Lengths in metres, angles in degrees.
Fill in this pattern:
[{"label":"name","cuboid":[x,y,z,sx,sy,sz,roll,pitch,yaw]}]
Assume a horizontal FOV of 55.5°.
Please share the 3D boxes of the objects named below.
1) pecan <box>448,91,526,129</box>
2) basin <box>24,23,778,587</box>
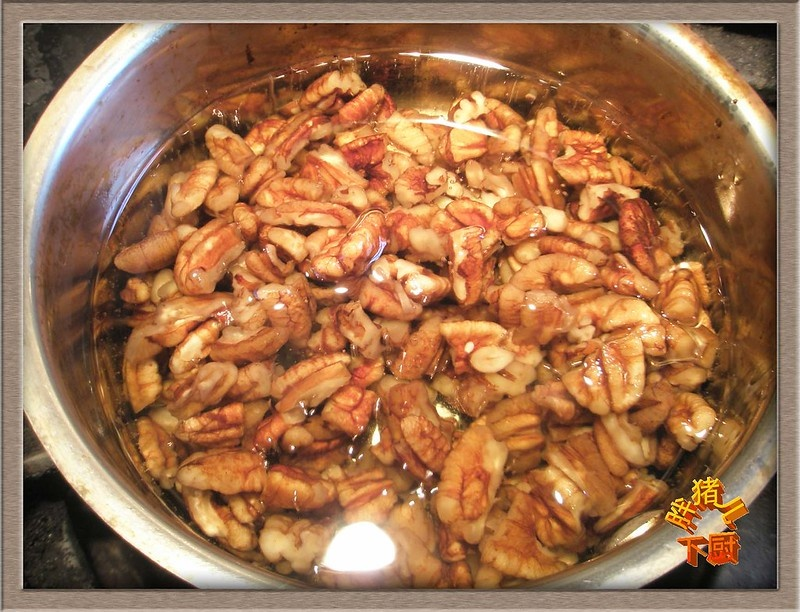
[{"label":"pecan","cuboid":[0.242,-0.519,2.076,0.197,0.155,0.080,-3,102,2]},{"label":"basin","cuboid":[-0.007,-0.065,1.601,1.623,0.536,1.187,2,62,-2]}]
